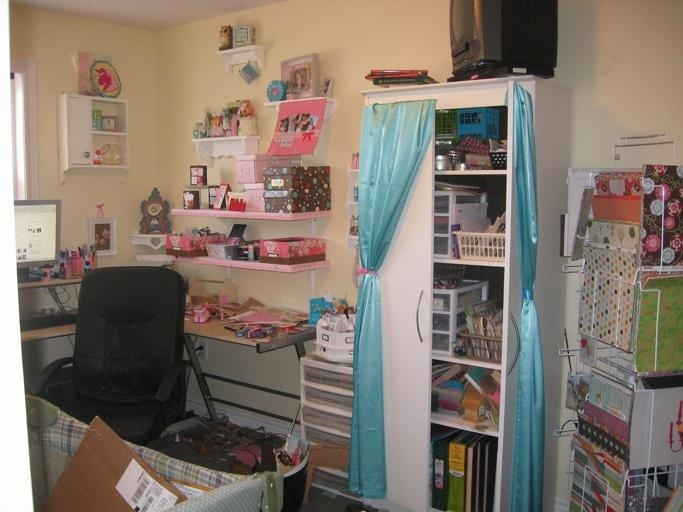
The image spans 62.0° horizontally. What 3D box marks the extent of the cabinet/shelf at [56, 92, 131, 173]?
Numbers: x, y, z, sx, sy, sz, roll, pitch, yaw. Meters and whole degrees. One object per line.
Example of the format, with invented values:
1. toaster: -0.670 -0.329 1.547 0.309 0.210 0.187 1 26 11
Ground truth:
1. cabinet/shelf: -2.002 -0.981 4.484 0.225 0.637 0.610 3 6 28

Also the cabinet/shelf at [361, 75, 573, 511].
1. cabinet/shelf: 0.688 0.278 3.276 1.100 2.454 0.642 3 7 27

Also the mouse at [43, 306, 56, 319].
1. mouse: -2.154 0.416 4.139 0.099 0.060 0.071 -5 3 43

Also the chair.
1. chair: -1.296 0.541 3.626 0.922 1.508 0.897 2 2 4

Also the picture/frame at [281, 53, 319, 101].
1. picture/frame: -0.287 -1.233 3.927 0.344 0.346 0.103 3 4 44

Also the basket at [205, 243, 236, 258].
1. basket: -0.909 -0.046 4.240 0.160 0.063 0.110 2 4 32

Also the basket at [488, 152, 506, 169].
1. basket: 0.826 -0.498 2.954 0.045 0.094 0.122 -3 7 -24

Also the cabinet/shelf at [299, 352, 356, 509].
1. cabinet/shelf: -0.105 1.027 3.505 0.359 0.771 0.148 1 6 17

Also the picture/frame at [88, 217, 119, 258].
1. picture/frame: -1.981 -0.157 4.644 0.029 0.416 0.282 3 7 37
